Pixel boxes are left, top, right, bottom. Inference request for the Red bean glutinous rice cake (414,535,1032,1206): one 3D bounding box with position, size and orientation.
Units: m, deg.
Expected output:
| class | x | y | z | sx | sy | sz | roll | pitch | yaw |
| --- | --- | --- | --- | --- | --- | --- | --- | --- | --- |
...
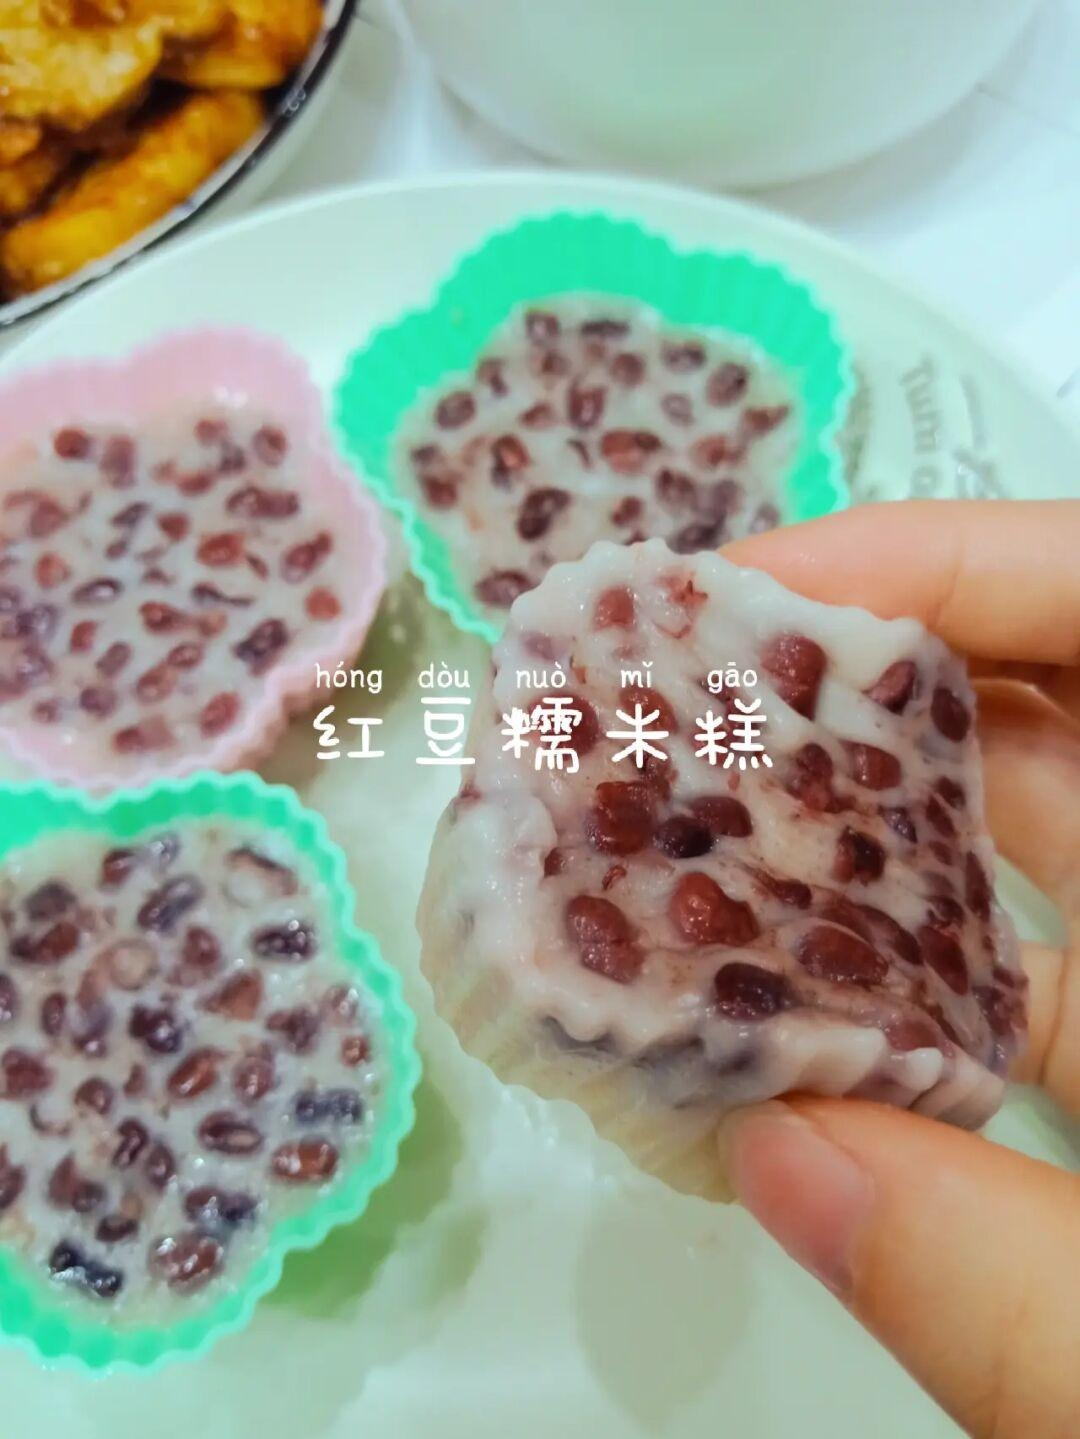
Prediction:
| class | x | y | z | sx | sy | sz | roll | pitch | yaw |
| --- | --- | --- | --- | --- | --- | --- | --- | --- | --- |
| Red bean glutinous rice cake | 0.066 | 0.056 | 0.655 | 0.313 | 0.118 | 0.289 | 15 | 54 | -15 |
